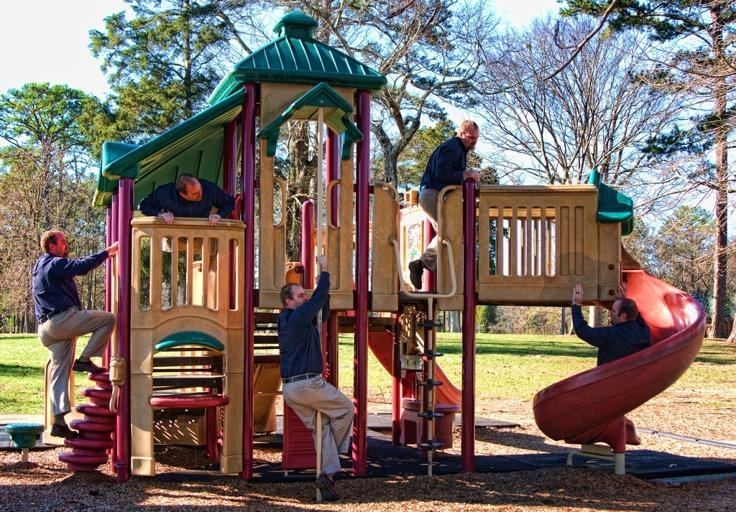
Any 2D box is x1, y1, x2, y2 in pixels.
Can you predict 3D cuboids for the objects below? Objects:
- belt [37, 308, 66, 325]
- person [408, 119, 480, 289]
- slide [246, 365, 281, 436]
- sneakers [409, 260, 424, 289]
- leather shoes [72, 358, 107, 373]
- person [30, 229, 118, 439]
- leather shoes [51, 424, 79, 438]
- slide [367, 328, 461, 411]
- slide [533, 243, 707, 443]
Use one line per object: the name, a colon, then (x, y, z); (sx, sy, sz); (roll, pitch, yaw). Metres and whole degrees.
belt: (-4.855, 0.932, 15.619); (0.266, 0.108, 0.255); (-14, 0, 0)
person: (1.195, -0.809, 16.612); (1.441, 2.628, 1.012); (-4, -7, 25)
slide: (-1.690, 2.364, 17.116); (0.424, 1.151, 1.260); (0, -7, -5)
sneakers: (0.796, 0.300, 16.908); (0.181, 0.524, 0.214); (-3, 11, 37)
leather shoes: (-4.282, 1.682, 15.741); (0.535, 0.237, 0.185); (6, 1, -28)
person: (-4.515, 1.152, 15.643); (1.227, 3.178, 0.761); (0, -6, -4)
leather shoes: (-4.612, 2.624, 15.591); (0.392, 0.189, 0.186); (1, -3, -8)
slide: (0.826, 1.979, 18.166); (1.563, 0.381, 1.129); (24, 3, 9)
slide: (4.075, 1.691, 16.548); (2.751, 3.210, 2.234); (8, -2, -32)
